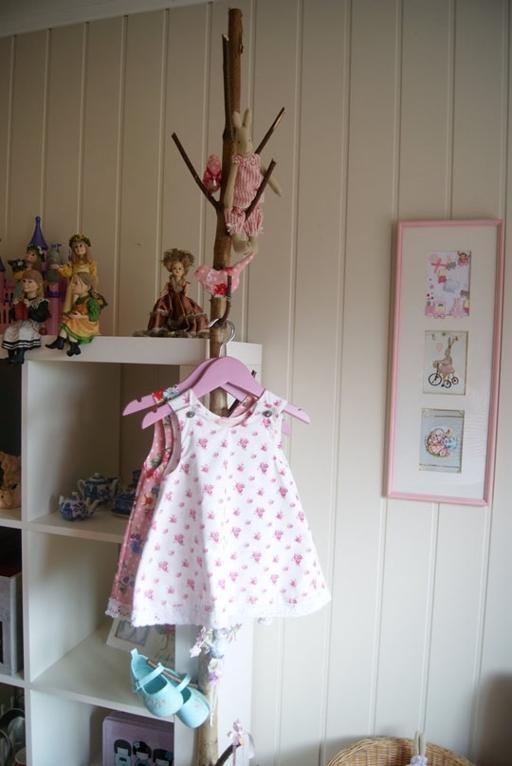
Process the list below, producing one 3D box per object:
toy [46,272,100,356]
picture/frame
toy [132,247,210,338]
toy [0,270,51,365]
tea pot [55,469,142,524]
[{"bbox_3d":[-0.384,-0.145,1.420,0.098,0.184,0.077,3,-3,-17],"label":"toy"},{"bbox_3d":[0.434,-0.044,1.555,0.246,0.645,0.091,2,-3,11],"label":"picture/frame"},{"bbox_3d":[-0.166,-0.180,1.487,0.198,0.216,0.184,0,-3,-2],"label":"toy"},{"bbox_3d":[-0.533,-0.143,1.542,0.093,0.212,0.256,4,-4,-21],"label":"toy"},{"bbox_3d":[-0.367,0.268,1.564,0.180,0.074,0.105,-2,-4,0],"label":"tea pot"}]
